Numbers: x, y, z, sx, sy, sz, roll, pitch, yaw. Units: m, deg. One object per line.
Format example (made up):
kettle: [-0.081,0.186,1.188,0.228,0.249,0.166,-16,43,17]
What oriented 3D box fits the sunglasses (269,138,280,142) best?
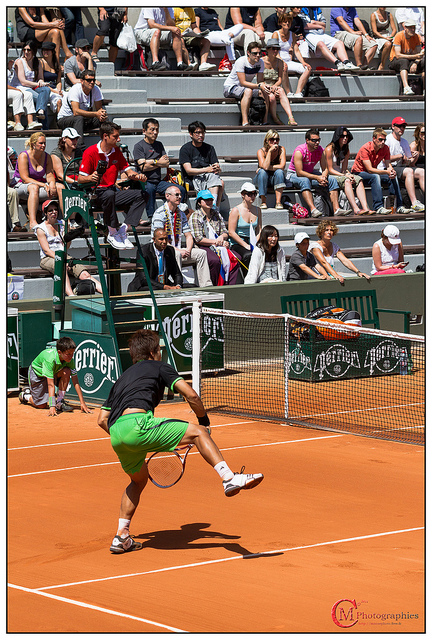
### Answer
sunglasses: [1.103,-3.340,16.178,0.117,0.069,0.246,4,6,39]

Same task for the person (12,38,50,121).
person: [-3.457,-4.424,16.105,0.675,1.489,0.739,-1,4,-11]

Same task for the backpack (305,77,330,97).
backpack: [2.347,-5.309,19.829,0.483,0.498,0.363,-4,19,-12]

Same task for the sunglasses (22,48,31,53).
sunglasses: [-3.479,-4.921,15.834,0.145,0.067,0.130,0,4,-4]

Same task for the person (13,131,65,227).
person: [-2.895,-2.254,14.215,0.754,1.544,0.928,-4,7,-36]

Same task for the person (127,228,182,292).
person: [-0.872,-0.853,13.249,0.835,1.058,0.877,-9,20,-36]

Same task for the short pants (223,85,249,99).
short pants: [0.387,-4.776,18.253,0.596,0.268,0.204,4,6,43]

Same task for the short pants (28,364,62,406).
short pants: [-2.234,0.845,11.278,0.260,0.380,0.473,-14,6,1]

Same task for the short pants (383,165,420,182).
short pants: [3.888,-3.126,18.498,0.446,0.473,0.170,-1,9,-5]

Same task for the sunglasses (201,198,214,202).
sunglasses: [-0.130,-1.980,14.397,0.188,0.056,0.078,-3,5,-35]

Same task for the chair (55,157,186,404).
chair: [-1.800,-0.612,12.262,2.080,3.541,1.009,-9,-9,1]

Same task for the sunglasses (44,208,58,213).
sunglasses: [-2.537,-1.665,13.283,0.193,0.043,0.074,-2,5,-26]

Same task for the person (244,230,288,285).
person: [0.874,-0.952,14.460,0.810,1.107,0.588,-4,15,-30]

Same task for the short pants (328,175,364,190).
short pants: [2.569,-2.758,17.360,0.376,0.143,0.383,0,37,-4]

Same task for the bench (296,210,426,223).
bench: [3.005,-2.081,17.459,3.129,0.316,0.477,-3,5,-33]

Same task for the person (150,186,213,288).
person: [-0.601,-1.253,13.878,1.103,1.757,0.754,7,14,42]

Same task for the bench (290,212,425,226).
bench: [2.948,-2.026,17.478,3.061,0.323,0.468,-2,5,-28]

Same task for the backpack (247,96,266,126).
backpack: [0.846,-4.356,18.120,0.406,0.565,0.193,0,11,-25]

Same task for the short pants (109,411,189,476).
short pants: [-0.448,0.831,5.793,0.422,0.382,0.191,15,41,-40]

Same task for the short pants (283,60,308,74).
short pants: [1.813,-5.756,19.765,0.540,0.379,0.457,0,4,3]

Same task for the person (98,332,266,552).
person: [-0.362,0.893,5.977,0.941,1.557,0.731,0,4,-2]

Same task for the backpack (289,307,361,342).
backpack: [1.748,0.069,13.452,0.816,0.343,0.603,-2,2,-33]

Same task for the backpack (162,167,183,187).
backpack: [-0.721,-2.492,15.067,0.262,0.353,0.359,1,36,-32]

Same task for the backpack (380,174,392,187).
backpack: [3.509,-2.871,17.942,0.228,0.228,0.056,-1,28,-10]

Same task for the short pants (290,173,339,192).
short pants: [1.782,-2.659,16.721,0.535,0.176,0.471,13,9,39]

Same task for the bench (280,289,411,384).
bench: [2.482,0.230,14.177,1.891,1.350,0.814,-5,0,29]

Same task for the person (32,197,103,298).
person: [-2.265,-1.111,13.134,0.635,1.197,1.670,-6,24,-34]

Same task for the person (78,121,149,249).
person: [-1.449,-1.858,12.027,0.919,1.774,0.992,0,10,-9]
